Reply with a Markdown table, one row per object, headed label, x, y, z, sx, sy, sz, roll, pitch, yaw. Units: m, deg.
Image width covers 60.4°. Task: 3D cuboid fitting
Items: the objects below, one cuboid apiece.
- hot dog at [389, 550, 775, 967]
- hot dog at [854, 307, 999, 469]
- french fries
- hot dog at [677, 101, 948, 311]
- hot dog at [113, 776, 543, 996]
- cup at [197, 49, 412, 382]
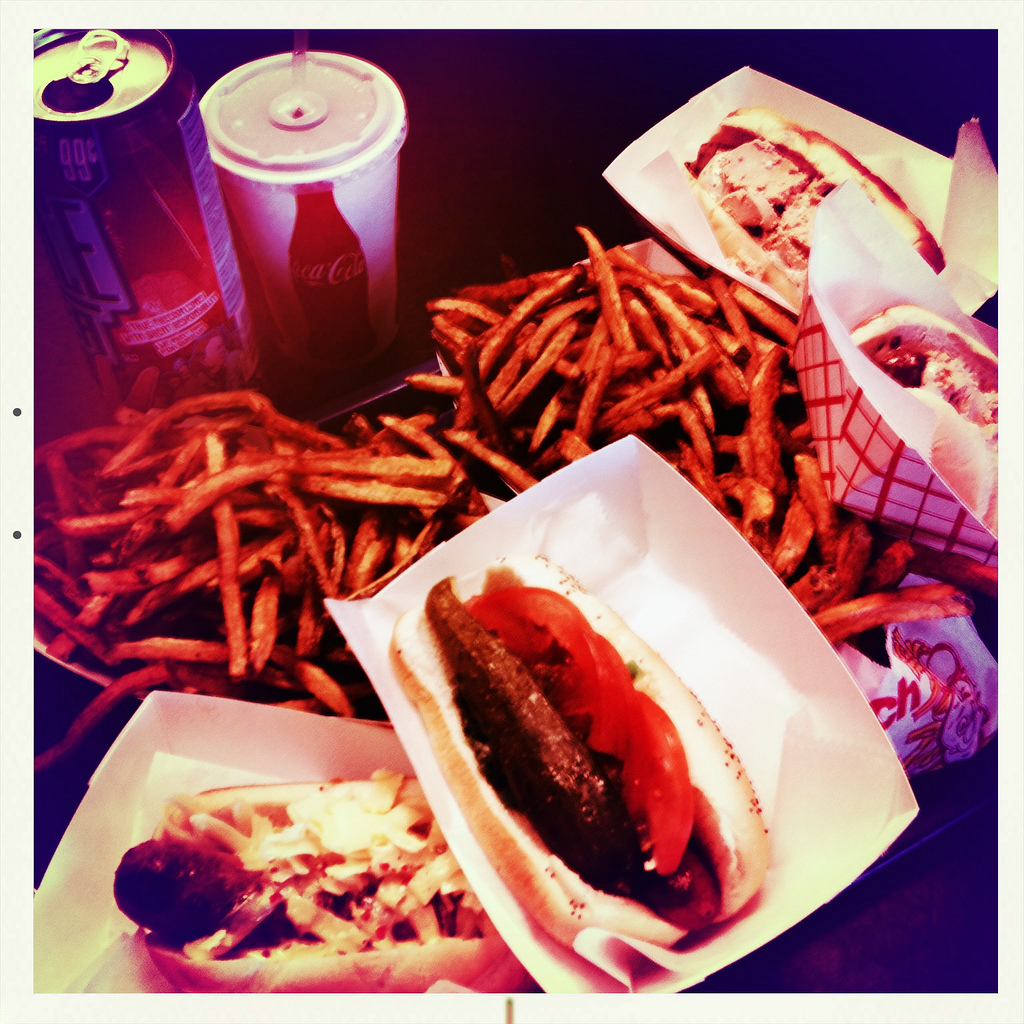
| label | x | y | z | sx | sy | sz | roll | pitch | yaw |
| --- | --- | --- | --- | --- | --- | --- | --- | --- | --- |
| hot dog | 0.078 | 0.293 | 1.151 | 0.298 | 0.175 | 0.511 | -34 | 84 | -3 |
| hot dog | 0.607 | -0.169 | 1.259 | 0.271 | 0.079 | 0.134 | 42 | 86 | -9 |
| french fries | -0.125 | -0.130 | 1.324 | 0.928 | 0.633 | 0.322 | -27 | 19 | 14 |
| hot dog | 0.387 | -0.430 | 1.211 | 0.212 | 0.109 | 0.368 | -37 | 80 | -7 |
| hot dog | -0.234 | 0.485 | 1.219 | 0.521 | 0.188 | 0.258 | 2 | 94 | 2 |
| cup | -0.244 | -0.416 | 1.263 | 0.346 | 0.462 | 0.339 | 1 | 50 | -2 |
